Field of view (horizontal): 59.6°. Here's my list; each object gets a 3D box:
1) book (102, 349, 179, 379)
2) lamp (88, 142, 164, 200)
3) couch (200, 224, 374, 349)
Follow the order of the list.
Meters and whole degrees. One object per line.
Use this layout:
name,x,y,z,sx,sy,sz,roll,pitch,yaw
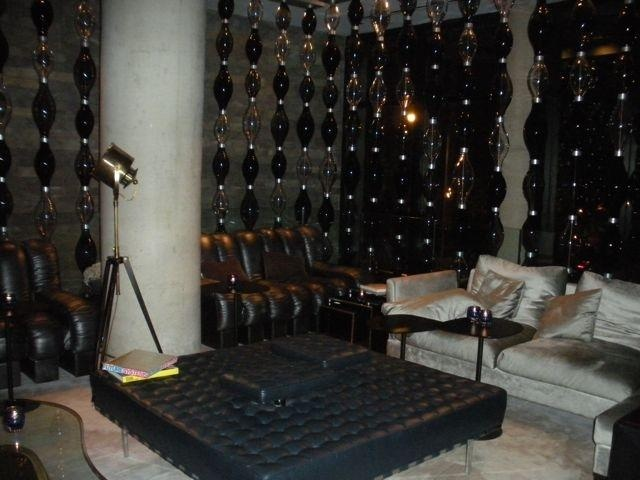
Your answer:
book,-1.126,0.776,3.524,0.234,0.051,0.231,5,7,30
lamp,-1.571,-0.540,4.265,0.331,0.254,0.277,31,-3,-5
couch,-0.429,0.444,6.084,2.029,0.943,1.557,-1,13,-12
